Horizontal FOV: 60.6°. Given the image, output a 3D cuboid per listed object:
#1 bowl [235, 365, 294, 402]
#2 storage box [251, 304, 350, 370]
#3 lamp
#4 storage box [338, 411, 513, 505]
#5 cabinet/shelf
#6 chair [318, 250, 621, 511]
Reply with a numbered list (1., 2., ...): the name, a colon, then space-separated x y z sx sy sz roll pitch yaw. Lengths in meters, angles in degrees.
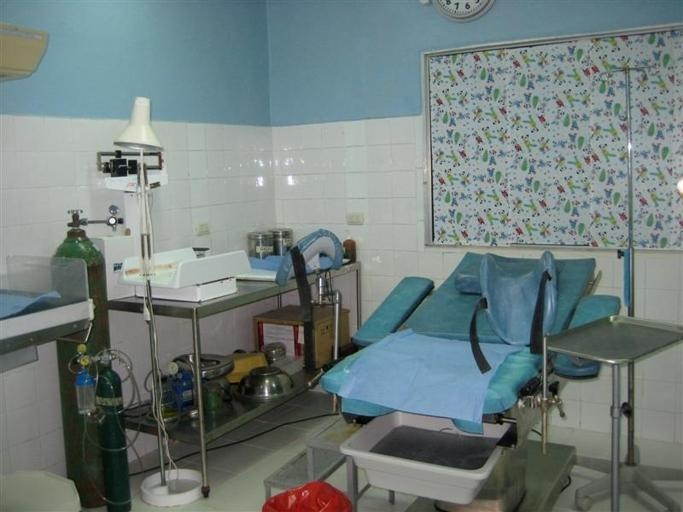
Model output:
1. bowl: -0.480 0.820 3.774 0.216 0.090 0.220 -1 7 0
2. storage box: -0.275 0.481 4.570 0.597 0.448 0.604 3 6 37
3. lamp: -1.069 0.240 3.270 0.345 2.223 0.642 -7 10 -22
4. storage box: 0.352 0.759 2.301 0.571 0.192 0.493 0 10 24
5. cabinet/shelf: -0.686 0.746 3.434 0.426 0.795 1.212 3 8 25
6. chair: 0.417 0.418 2.308 0.725 0.425 1.243 4 11 27
